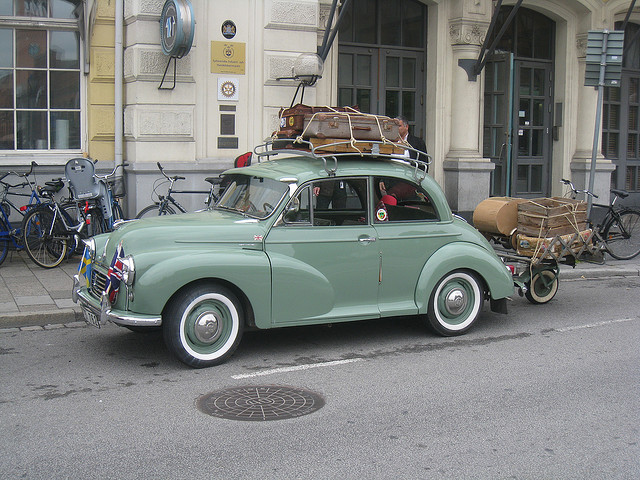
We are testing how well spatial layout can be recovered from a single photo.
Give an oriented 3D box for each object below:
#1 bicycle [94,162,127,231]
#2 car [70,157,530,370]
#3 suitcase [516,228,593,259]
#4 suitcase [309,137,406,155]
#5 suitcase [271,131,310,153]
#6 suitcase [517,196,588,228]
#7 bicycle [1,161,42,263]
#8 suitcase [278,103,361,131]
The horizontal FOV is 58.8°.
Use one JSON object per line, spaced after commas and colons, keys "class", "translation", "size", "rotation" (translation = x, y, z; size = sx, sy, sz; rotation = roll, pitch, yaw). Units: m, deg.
{"class": "bicycle", "translation": [-3.955, -0.915, 10.784], "size": [0.600, 0.920, 1.374], "rotation": [-9, 12, -10]}
{"class": "car", "translation": [0.098, 0.177, 7.150], "size": [4.912, 2.180, 1.962], "rotation": [-3, 0, -21]}
{"class": "suitcase", "translation": [3.309, 0.067, 8.011], "size": [1.036, 0.379, 0.378], "rotation": [-1, 7, -13]}
{"class": "suitcase", "translation": [0.488, -1.124, 6.754], "size": [1.204, 0.175, 0.278], "rotation": [-2, 7, -19]}
{"class": "suitcase", "translation": [-0.331, -1.204, 6.894], "size": [0.334, 0.278, 0.830], "rotation": [-3, 8, -27]}
{"class": "suitcase", "translation": [3.329, -0.401, 8.174], "size": [0.927, 0.340, 0.578], "rotation": [-9, 13, -31]}
{"class": "bicycle", "translation": [-5.292, -0.507, 10.096], "size": [0.652, 1.779, 1.156], "rotation": [-3, 8, -27]}
{"class": "suitcase", "translation": [-0.100, -1.457, 7.063], "size": [0.921, 0.439, 0.557], "rotation": [-6, 11, -38]}
